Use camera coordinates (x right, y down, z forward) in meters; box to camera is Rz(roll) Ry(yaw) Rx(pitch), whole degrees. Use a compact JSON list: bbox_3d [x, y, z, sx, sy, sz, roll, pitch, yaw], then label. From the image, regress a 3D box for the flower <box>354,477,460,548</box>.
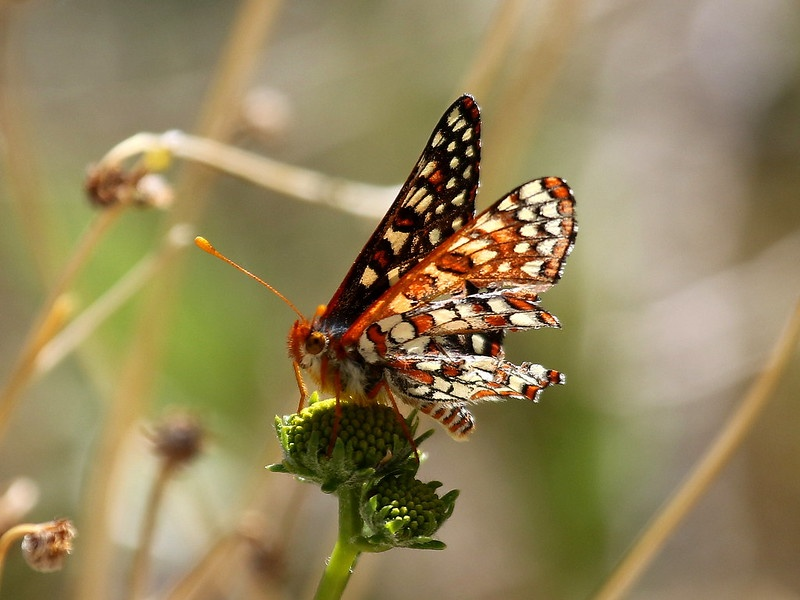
[{"bbox_3d":[0.029,0.437,1.916,0.210,0.110,0.194,13,5,-1],"label":"flower"}]
